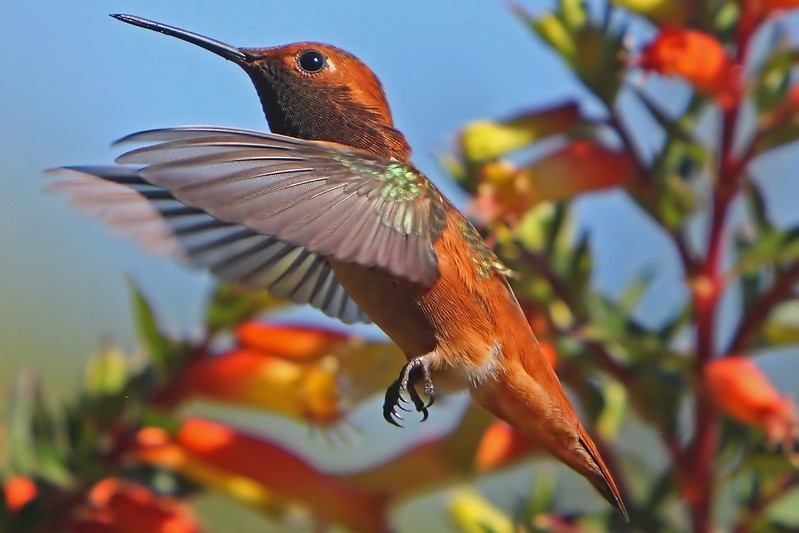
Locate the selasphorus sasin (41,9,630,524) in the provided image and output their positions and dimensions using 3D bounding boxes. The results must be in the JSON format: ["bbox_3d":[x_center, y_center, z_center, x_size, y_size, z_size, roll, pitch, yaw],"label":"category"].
[{"bbox_3d":[-0.019,-0.013,1.147,0.584,0.306,0.380,20,0,-9],"label":"selasphorus sasin"}]
